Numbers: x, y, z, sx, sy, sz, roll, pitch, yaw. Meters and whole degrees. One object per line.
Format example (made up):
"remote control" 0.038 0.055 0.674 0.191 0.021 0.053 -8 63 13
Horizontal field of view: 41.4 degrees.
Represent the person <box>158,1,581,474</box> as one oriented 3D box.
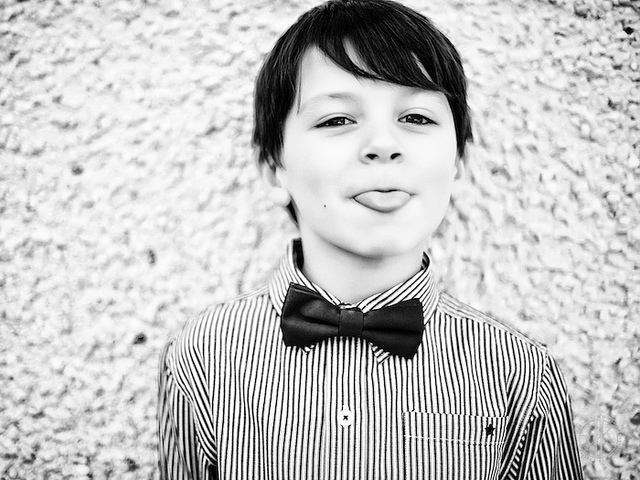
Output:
"person" 0.140 -0.017 2.205 1.160 0.744 1.484 1 79 -2
